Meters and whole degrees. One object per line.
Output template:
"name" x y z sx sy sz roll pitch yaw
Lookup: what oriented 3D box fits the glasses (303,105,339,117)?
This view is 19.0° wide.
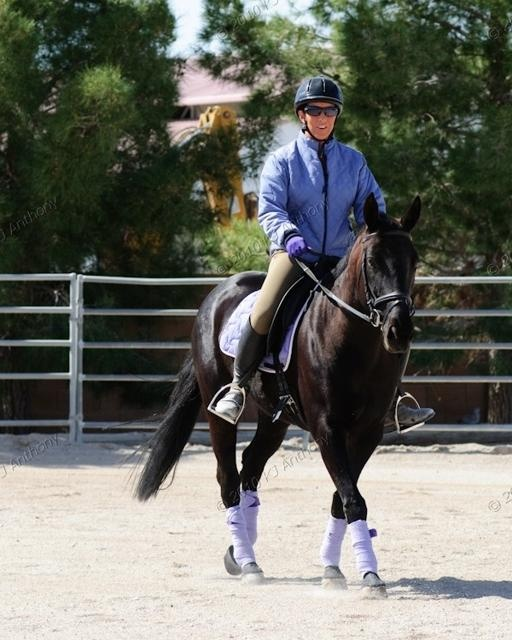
"glasses" 0.405 -1.290 9.472 0.227 0.073 0.111 1 9 0

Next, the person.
"person" 0.342 -0.415 9.421 1.327 2.154 1.062 0 3 13

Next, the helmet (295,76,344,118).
"helmet" 0.386 -1.414 9.552 0.202 0.198 0.256 4 -21 -3

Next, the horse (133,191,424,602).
"horse" 0.246 0.391 9.480 0.845 2.386 1.944 -5 11 -34

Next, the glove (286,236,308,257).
"glove" 0.232 -0.439 9.270 0.120 0.152 0.229 -2 9 -15

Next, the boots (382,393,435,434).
"boots" 0.962 0.575 9.720 0.148 0.211 0.453 3 -16 -44
